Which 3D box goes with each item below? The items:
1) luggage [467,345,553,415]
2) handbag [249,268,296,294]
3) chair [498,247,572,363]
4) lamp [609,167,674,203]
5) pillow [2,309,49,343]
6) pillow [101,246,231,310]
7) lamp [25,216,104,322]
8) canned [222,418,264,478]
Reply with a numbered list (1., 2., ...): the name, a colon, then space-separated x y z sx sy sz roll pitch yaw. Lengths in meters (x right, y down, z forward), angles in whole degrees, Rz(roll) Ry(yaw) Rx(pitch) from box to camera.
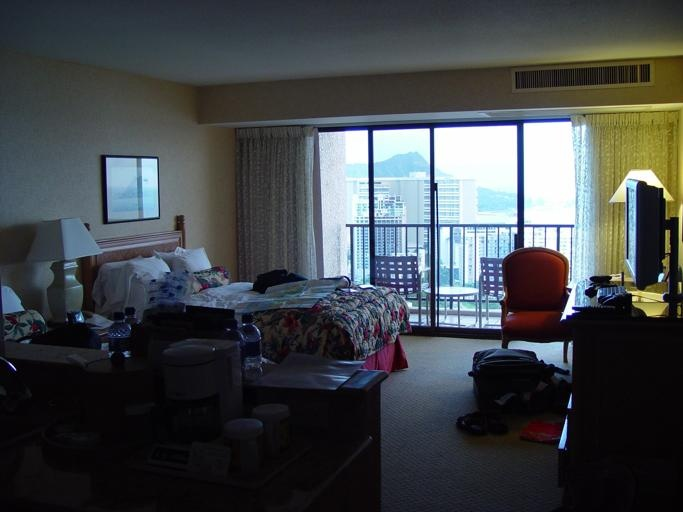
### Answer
1. luggage: 1.361 0.982 4.362 0.557 0.325 0.431 -1 -1 12
2. handbag: -0.705 0.239 5.388 0.253 0.102 0.307 -14 5 -26
3. chair: 1.859 0.507 5.209 0.703 1.080 0.737 0 7 37
4. lamp: 2.619 -0.626 4.720 0.626 0.300 0.624 0 2 6
5. pillow: -2.374 0.503 4.098 0.249 0.166 0.478 -4 8 -23
6. pillow: -1.773 0.234 5.472 0.801 0.479 1.105 3 8 25
7. lamp: -2.356 0.114 4.671 0.550 0.854 0.338 -4 8 -24
8. canned: -0.314 0.601 1.751 0.133 0.147 0.139 -3 1 -28
